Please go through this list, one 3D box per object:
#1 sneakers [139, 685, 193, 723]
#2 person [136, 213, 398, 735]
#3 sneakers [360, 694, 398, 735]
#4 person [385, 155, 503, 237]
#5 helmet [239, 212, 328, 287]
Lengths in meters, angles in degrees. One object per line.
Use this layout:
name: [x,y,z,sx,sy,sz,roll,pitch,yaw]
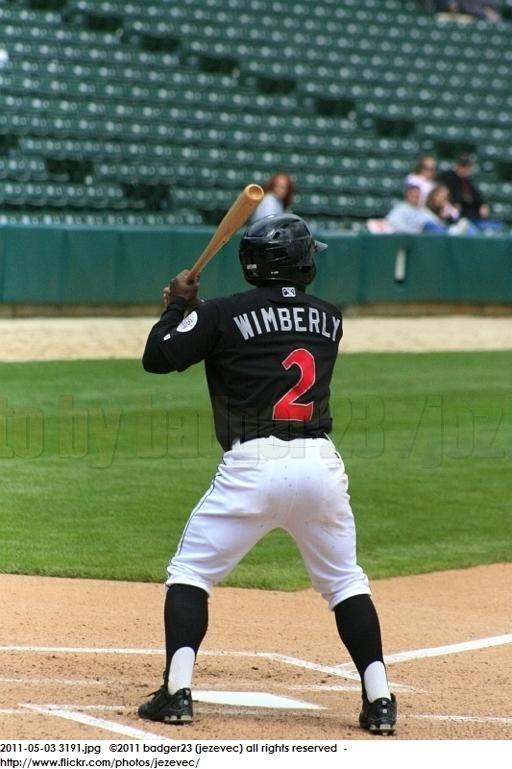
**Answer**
sneakers: [-0.235,0.870,3.000,0.073,0.082,0.190,14,-17,-39]
person: [0.045,0.236,3.102,0.737,1.399,0.456,2,7,-6]
sneakers: [0.338,0.899,3.038,0.100,0.114,0.103,3,6,5]
person: [1.284,-1.190,7.399,0.682,0.339,0.913,2,-2,-4]
helmet: [0.104,-0.366,3.146,0.263,0.174,0.173,-5,12,-28]
